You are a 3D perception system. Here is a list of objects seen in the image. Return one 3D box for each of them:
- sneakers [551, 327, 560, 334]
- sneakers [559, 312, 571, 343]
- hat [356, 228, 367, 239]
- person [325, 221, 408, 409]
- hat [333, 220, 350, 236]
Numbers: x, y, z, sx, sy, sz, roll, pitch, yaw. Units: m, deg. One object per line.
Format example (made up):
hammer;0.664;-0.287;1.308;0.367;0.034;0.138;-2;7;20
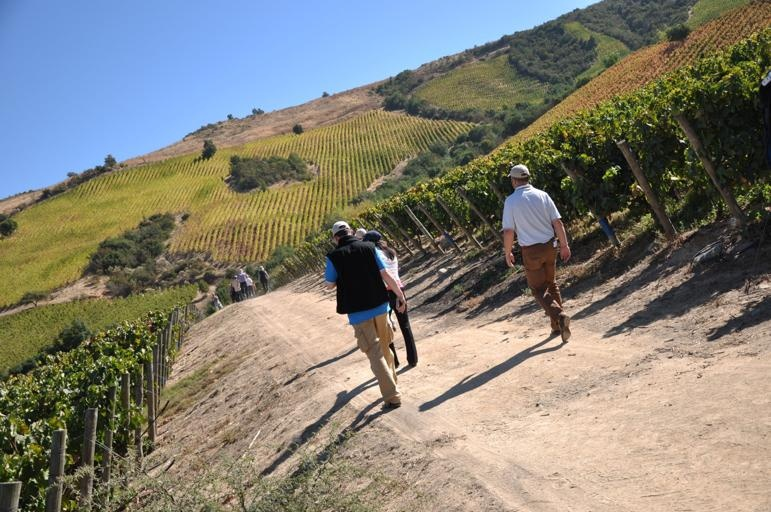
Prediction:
sneakers;2.846;1.262;10.630;0.118;0.117;0.094;5;10;36
sneakers;2.847;1.131;10.249;0.180;0.522;0.210;-12;13;-22
hat;-0.427;-0.412;10.899;0.154;0.218;0.211;14;-1;0
person;-0.200;0.850;9.741;0.688;2.392;1.233;-13;18;45
hat;-0.614;-0.424;9.850;0.238;0.224;0.389;-2;6;-20
